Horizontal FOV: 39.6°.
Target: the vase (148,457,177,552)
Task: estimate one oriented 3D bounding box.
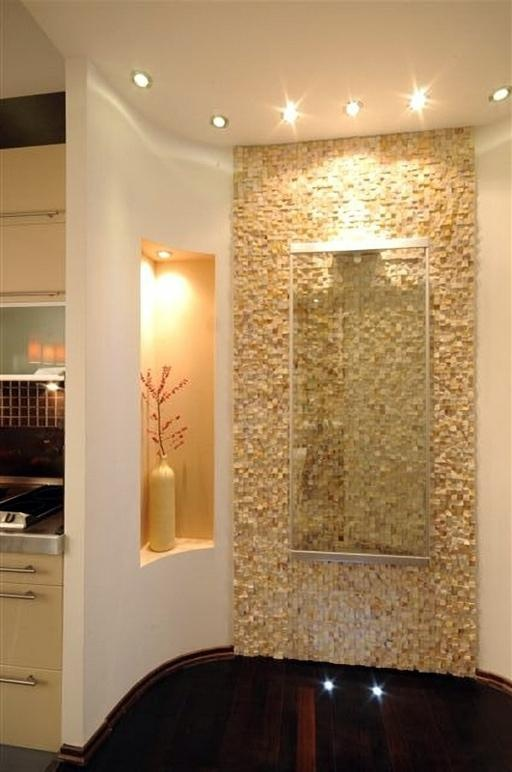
[{"bbox_3d":[-0.460,0.589,3.517,0.119,0.456,0.075,0,-3,-17],"label":"vase"}]

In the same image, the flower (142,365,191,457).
[{"bbox_3d":[-0.504,0.133,3.734,0.270,0.476,0.131,2,-4,-37],"label":"flower"}]
